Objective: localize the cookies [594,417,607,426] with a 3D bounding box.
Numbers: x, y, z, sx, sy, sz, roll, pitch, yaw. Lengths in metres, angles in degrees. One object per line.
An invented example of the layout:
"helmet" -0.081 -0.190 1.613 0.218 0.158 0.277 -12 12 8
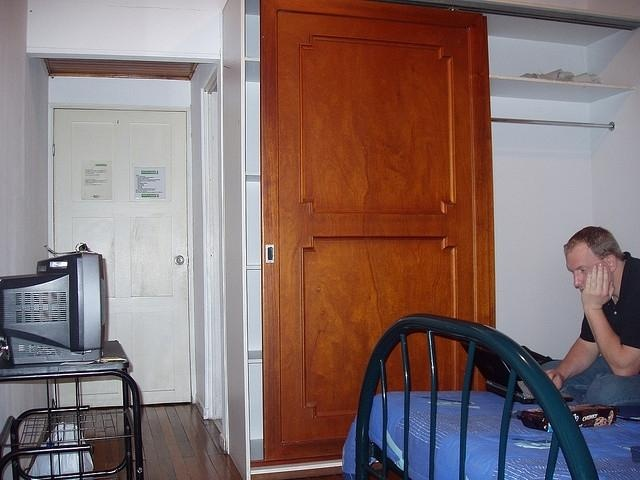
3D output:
"cookies" 1.136 0.732 2.212 0.045 0.036 0.007 -2 5 -19
